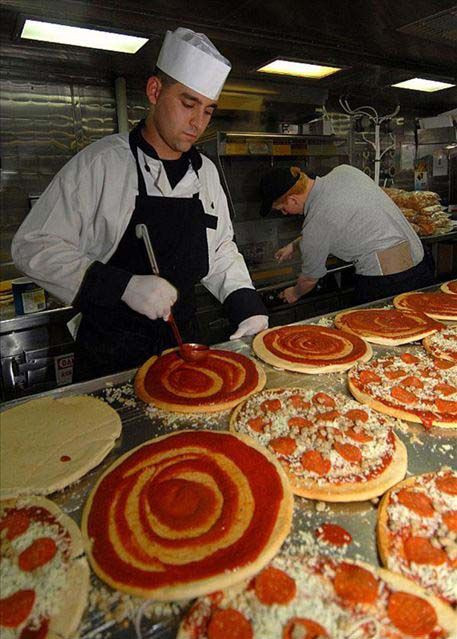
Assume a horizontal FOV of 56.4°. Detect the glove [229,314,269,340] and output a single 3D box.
[{"bbox_3d":[0.065,0.020,1.362,0.100,0.041,0.070,-31,28,-21],"label":"glove"}]
